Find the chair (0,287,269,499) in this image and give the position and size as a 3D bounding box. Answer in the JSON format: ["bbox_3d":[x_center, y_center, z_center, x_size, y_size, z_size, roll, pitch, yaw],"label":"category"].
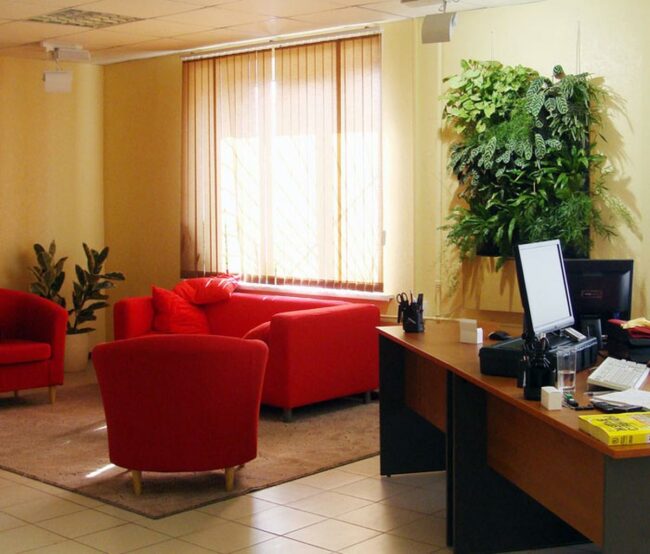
[{"bbox_3d":[-0.860,0.558,3.186,0.903,0.932,0.841,0,3,-4],"label":"chair"}]

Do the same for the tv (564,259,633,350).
[{"bbox_3d":[1.438,0.118,3.038,0.349,0.379,0.179,1,13,28],"label":"tv"}]

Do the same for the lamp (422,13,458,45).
[{"bbox_3d":[0.861,-1.916,4.434,0.277,0.296,0.217,4,10,27],"label":"lamp"}]

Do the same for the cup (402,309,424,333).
[{"bbox_3d":[0.506,0.262,3.312,0.114,0.137,0.103,3,-4,-36],"label":"cup"}]
